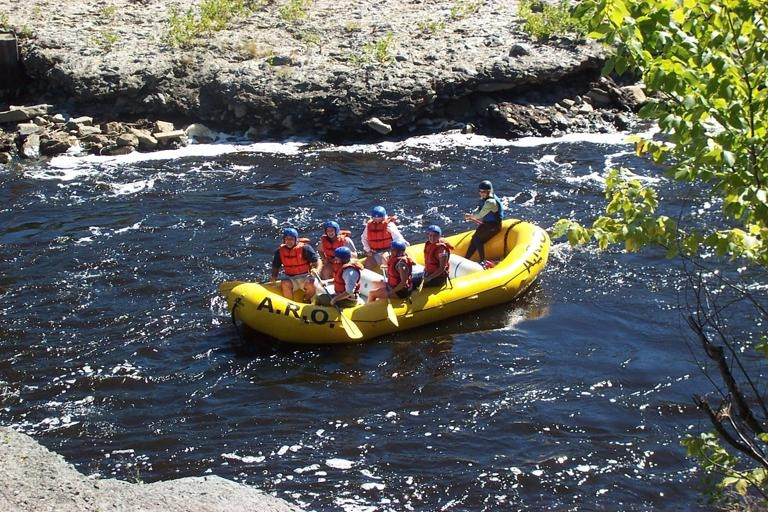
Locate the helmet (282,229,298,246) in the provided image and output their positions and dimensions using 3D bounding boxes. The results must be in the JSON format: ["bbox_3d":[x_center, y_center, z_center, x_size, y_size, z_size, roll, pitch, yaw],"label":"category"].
[{"bbox_3d":[-1.764,-0.353,23.531,0.351,0.325,0.337,1,28,2],"label":"helmet"}]

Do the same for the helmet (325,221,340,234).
[{"bbox_3d":[-1.052,-0.572,24.067,0.315,0.235,0.312,-2,36,10],"label":"helmet"}]

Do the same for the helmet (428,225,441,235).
[{"bbox_3d":[0.974,-0.479,23.936,0.281,0.122,0.318,3,10,-4],"label":"helmet"}]

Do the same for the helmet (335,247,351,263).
[{"bbox_3d":[-0.791,-0.040,23.391,0.360,0.303,0.229,13,23,6],"label":"helmet"}]

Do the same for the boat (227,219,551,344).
[{"bbox_3d":[0.491,0.743,23.981,6.336,1.026,2.342,-11,30,-15],"label":"boat"}]
